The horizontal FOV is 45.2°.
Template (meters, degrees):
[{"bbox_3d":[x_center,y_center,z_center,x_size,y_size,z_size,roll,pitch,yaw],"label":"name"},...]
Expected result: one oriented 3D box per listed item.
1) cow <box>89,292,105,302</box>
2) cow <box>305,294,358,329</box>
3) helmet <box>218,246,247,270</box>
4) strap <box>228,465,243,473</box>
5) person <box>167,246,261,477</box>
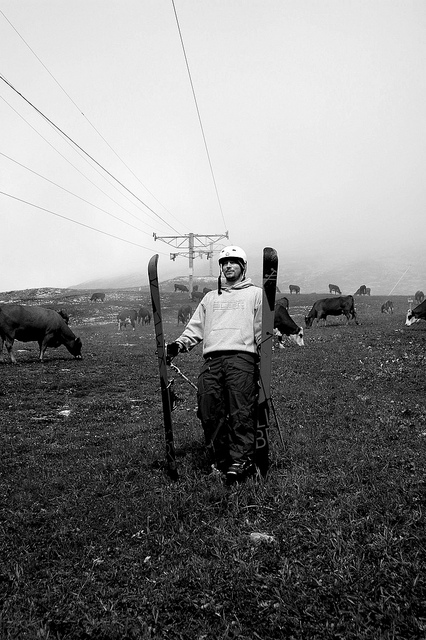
[{"bbox_3d":[-13.547,-2.643,60.317,1.394,1.021,3.029,-4,4,-21],"label":"cow"},{"bbox_3d":[6.924,-0.498,30.453,2.623,1.679,4.599,-2,4,15],"label":"cow"},{"bbox_3d":[0.228,-0.744,6.256,0.331,0.276,0.301,-3,3,0],"label":"helmet"},{"bbox_3d":[0.230,1.508,5.198,0.052,0.088,0.167,-2,-11,19],"label":"strap"},{"bbox_3d":[0.124,0.367,5.773,0.952,2.432,1.386,-2,3,-4],"label":"person"}]
